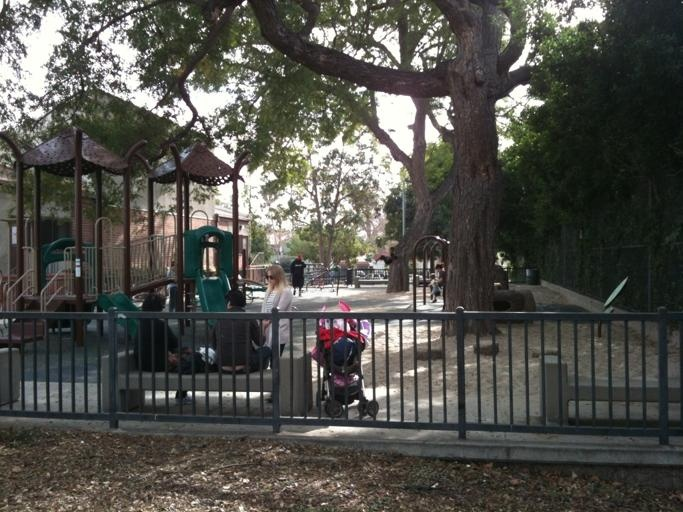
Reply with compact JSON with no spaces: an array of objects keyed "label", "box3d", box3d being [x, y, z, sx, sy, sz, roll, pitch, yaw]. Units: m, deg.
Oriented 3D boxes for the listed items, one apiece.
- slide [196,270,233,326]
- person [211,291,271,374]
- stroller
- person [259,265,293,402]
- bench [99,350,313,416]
[{"label":"slide","box3d":[-3.034,0.847,20.615,0.886,2.127,0.441,6,-23,-34]},{"label":"person","box3d":[-1.602,1.201,13.454,0.869,1.582,0.932,3,9,26]},{"label":"stroller","box3d":[-0.043,1.432,13.113,1.068,1.713,1.183,-1,6,23]},{"label":"person","box3d":[-1.096,1.066,14.329,0.845,1.865,0.547,0,0,-22]},{"label":"bench","box3d":[-2.207,1.595,13.360,2.730,1.111,1.069,0,33,-1]}]
